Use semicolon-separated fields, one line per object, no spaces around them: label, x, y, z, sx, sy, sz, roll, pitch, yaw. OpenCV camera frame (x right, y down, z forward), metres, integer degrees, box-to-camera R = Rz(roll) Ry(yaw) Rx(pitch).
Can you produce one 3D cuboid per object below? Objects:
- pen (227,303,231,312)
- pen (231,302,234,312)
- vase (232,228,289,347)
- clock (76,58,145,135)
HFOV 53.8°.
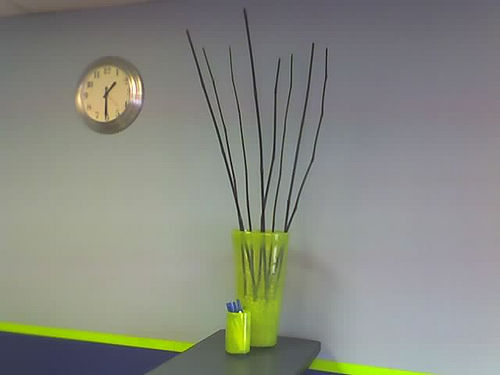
pen;-0.106;0.598;2.463;0.029;0.051;0.029;0;-10;-6
pen;-0.085;0.596;2.458;0.012;0.040;0.020;2;3;-6
vase;0.044;0.523;2.570;0.288;0.592;0.121;2;3;-2
clock;-0.849;-0.563;3.064;0.449;0.493;0.051;0;-1;21
